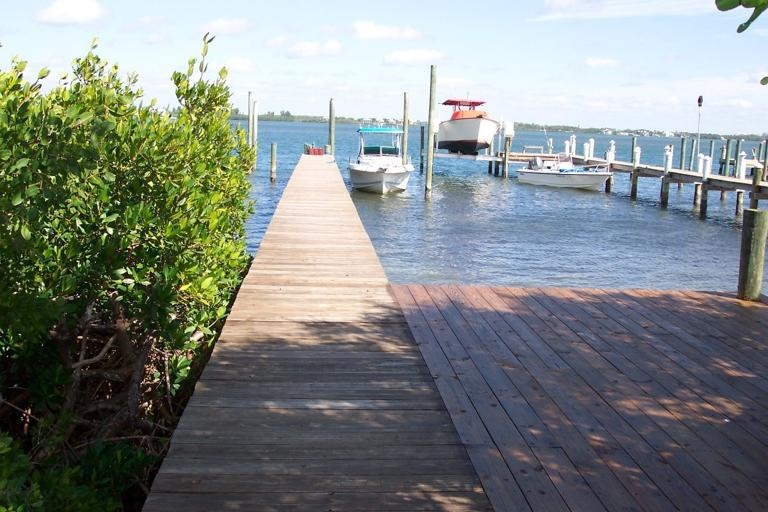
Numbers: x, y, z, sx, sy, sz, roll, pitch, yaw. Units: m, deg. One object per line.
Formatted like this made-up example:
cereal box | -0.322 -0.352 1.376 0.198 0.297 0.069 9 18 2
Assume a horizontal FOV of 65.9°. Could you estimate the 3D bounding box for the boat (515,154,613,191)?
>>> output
boat | 8.719 -4.260 29.136 4.111 1.202 2.082 9 14 35
